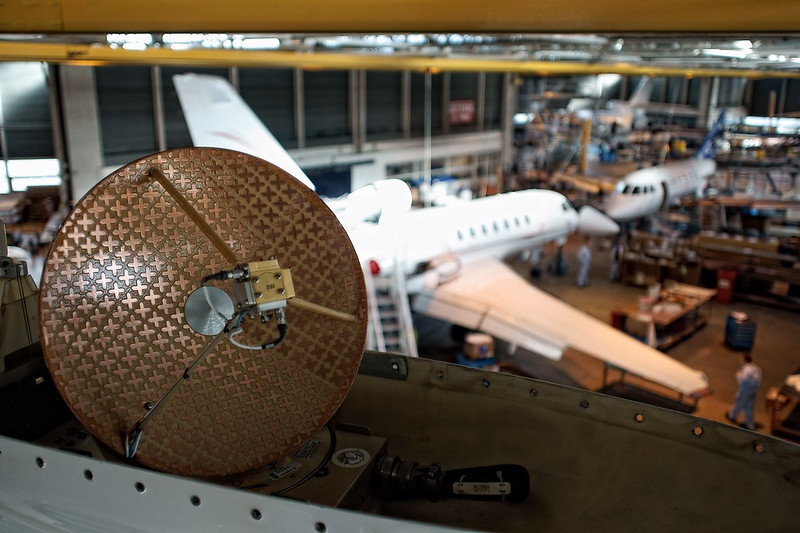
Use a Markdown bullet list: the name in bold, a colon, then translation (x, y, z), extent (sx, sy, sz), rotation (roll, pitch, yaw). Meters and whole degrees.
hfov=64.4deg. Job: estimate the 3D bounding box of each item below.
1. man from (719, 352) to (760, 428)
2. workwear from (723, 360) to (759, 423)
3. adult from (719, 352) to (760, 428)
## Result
- **man**: translation (3.431, 1.245, 6.275), extent (0.261, 0.718, 0.208), rotation (3, 21, 17)
- **workwear**: translation (3.432, 1.239, 6.298), extent (0.284, 0.736, 0.252), rotation (7, 24, 24)
- **adult**: translation (3.430, 1.251, 6.274), extent (0.268, 0.707, 0.196), rotation (4, 22, 20)
